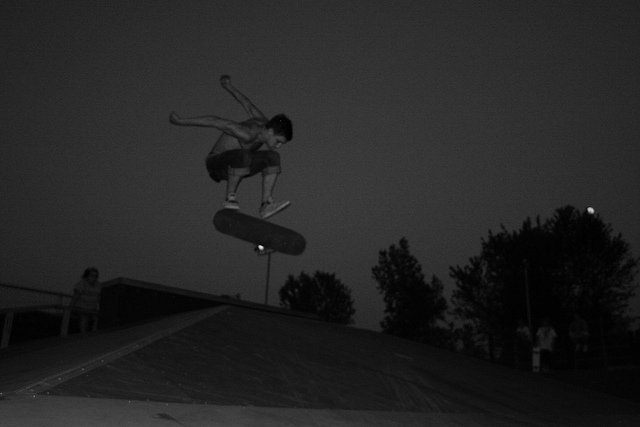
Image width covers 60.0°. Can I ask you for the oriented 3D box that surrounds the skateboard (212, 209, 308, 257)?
[{"bbox_3d":[-0.835,0.247,7.660,1.190,0.377,0.188,21,15,-9],"label":"skateboard"}]
